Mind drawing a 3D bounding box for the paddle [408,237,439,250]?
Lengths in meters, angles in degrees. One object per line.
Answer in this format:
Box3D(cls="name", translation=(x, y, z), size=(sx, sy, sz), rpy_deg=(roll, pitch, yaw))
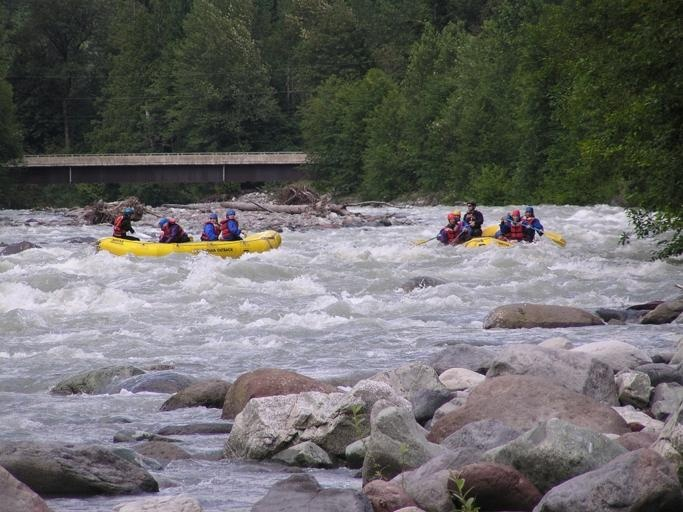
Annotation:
Box3D(cls="paddle", translation=(4.139, -0.603, 71.772), size=(1.221, 0.488, 3.237), rpy_deg=(0, 8, 4))
